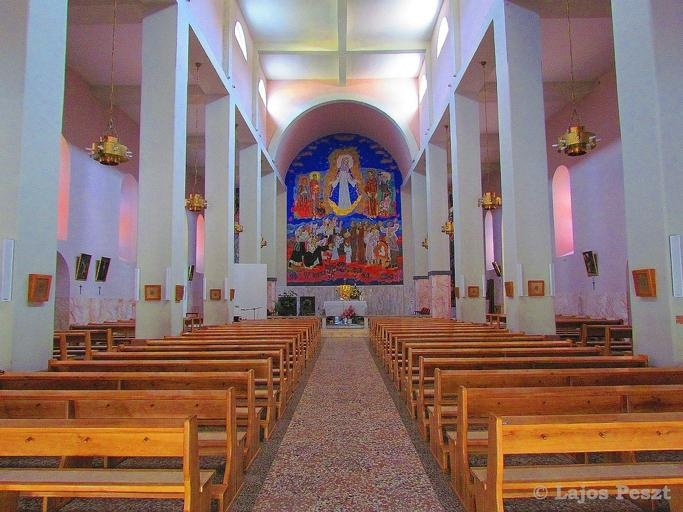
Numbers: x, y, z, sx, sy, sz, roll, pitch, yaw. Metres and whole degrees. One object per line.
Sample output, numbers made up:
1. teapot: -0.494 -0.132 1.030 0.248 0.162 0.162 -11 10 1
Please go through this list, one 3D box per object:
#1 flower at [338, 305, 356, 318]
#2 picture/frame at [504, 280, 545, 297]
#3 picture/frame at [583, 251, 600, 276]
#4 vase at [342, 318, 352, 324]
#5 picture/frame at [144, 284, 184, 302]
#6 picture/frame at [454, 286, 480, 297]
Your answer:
1. flower: 0.191 1.983 19.814 0.417 0.440 0.426 -1 3 -20
2. picture/frame: 3.187 0.581 9.916 0.694 0.323 0.228 1 3 40
3. picture/frame: 7.087 0.211 16.032 0.185 0.669 0.646 2 -5 12
4. vase: 0.218 2.433 20.765 0.359 0.260 0.203 1 1 11
5. picture/frame: -3.097 0.666 9.919 0.704 0.356 0.364 -2 2 -26
6. picture/frame: 2.973 0.871 13.543 0.614 0.296 0.284 0 3 35
